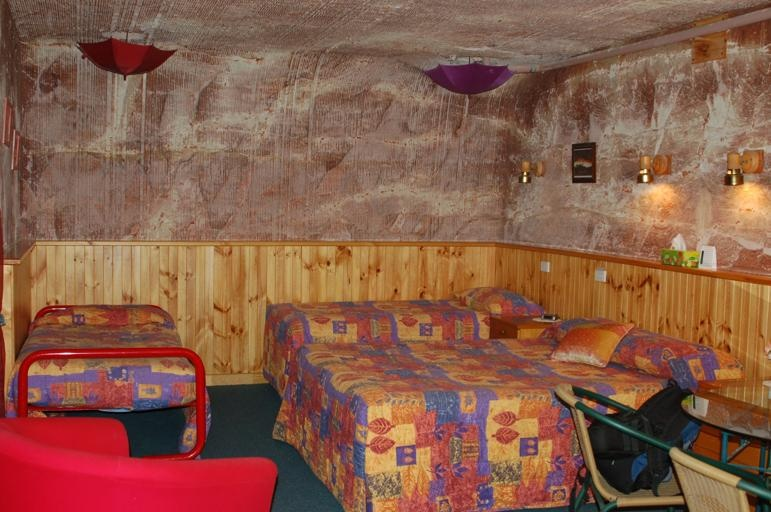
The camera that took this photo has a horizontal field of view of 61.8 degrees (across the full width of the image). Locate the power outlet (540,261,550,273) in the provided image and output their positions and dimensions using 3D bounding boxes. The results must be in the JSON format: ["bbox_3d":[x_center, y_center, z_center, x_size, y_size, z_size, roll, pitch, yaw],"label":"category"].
[{"bbox_3d":[1.639,0.112,6.570,0.017,0.084,0.120,-1,3,-16],"label":"power outlet"}]

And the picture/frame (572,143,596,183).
[{"bbox_3d":[1.929,-0.895,6.201,0.030,0.363,0.380,-5,8,-18],"label":"picture/frame"}]

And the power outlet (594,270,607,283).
[{"bbox_3d":[1.971,0.185,5.866,0.034,0.099,0.113,-1,4,-16],"label":"power outlet"}]

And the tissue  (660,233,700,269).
[{"bbox_3d":[2.394,-0.035,5.200,0.158,0.250,0.248,-17,7,-8],"label":"tissue "}]

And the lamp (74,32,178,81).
[{"bbox_3d":[-2.269,-1.674,5.665,0.779,0.282,0.761,4,8,39],"label":"lamp"}]
